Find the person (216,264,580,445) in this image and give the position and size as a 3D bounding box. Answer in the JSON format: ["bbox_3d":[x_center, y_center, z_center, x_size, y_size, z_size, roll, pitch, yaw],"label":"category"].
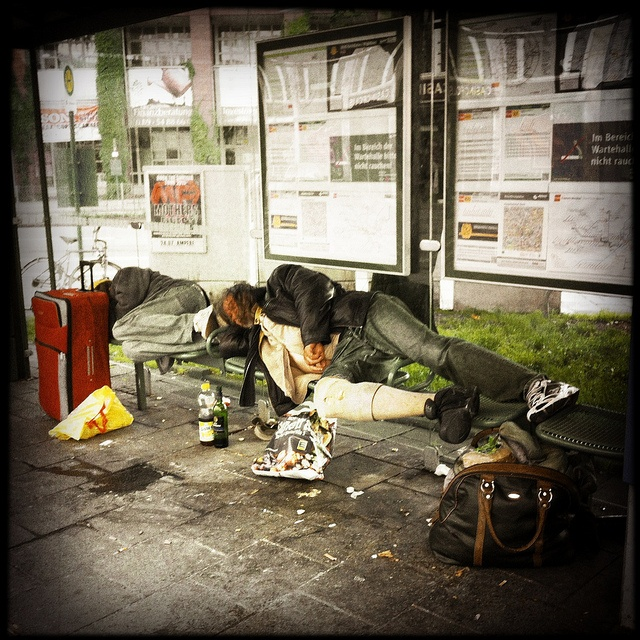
[{"bbox_3d":[0.199,0.205,3.946,0.901,1.003,2.643,-16,13,-39],"label":"person"}]

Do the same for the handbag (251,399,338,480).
[{"bbox_3d":[-0.132,0.738,3.616,0.400,0.474,0.157,-2,-25,36],"label":"handbag"}]

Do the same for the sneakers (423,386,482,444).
[{"bbox_3d":[0.656,0.461,3.104,0.159,0.141,0.381,18,26,7],"label":"sneakers"}]

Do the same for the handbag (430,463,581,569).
[{"bbox_3d":[0.829,0.823,2.827,0.776,0.541,0.413,-2,35,7],"label":"handbag"}]

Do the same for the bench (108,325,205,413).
[{"bbox_3d":[-1.176,0.328,4.754,0.730,0.872,0.620,3,-12,-36],"label":"bench"}]

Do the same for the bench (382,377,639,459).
[{"bbox_3d":[1.074,0.507,3.010,0.706,0.122,0.576,4,13,26],"label":"bench"}]

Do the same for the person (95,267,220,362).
[{"bbox_3d":[-1.296,-0.051,4.866,0.692,0.394,0.895,-10,41,-26],"label":"person"}]

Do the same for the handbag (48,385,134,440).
[{"bbox_3d":[-1.626,0.660,4.454,0.364,0.154,0.378,-5,17,28],"label":"handbag"}]
